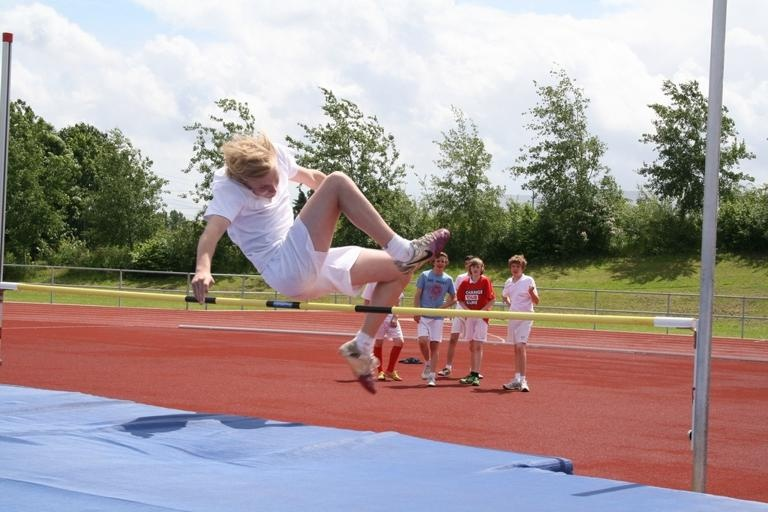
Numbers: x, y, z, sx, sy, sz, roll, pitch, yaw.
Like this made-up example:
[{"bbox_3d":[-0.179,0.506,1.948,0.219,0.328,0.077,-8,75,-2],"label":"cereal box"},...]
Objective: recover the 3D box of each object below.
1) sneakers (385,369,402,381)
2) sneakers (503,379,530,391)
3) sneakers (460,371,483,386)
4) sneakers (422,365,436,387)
[{"bbox_3d":[0.124,1.779,12.319,0.291,0.120,0.104,4,7,23],"label":"sneakers"},{"bbox_3d":[1.928,1.864,11.893,0.433,0.170,0.151,0,-5,15],"label":"sneakers"},{"bbox_3d":[1.267,1.792,12.107,0.300,0.189,0.198,2,-3,-6],"label":"sneakers"},{"bbox_3d":[0.649,1.731,11.963,0.132,0.149,0.363,0,18,-2],"label":"sneakers"}]
